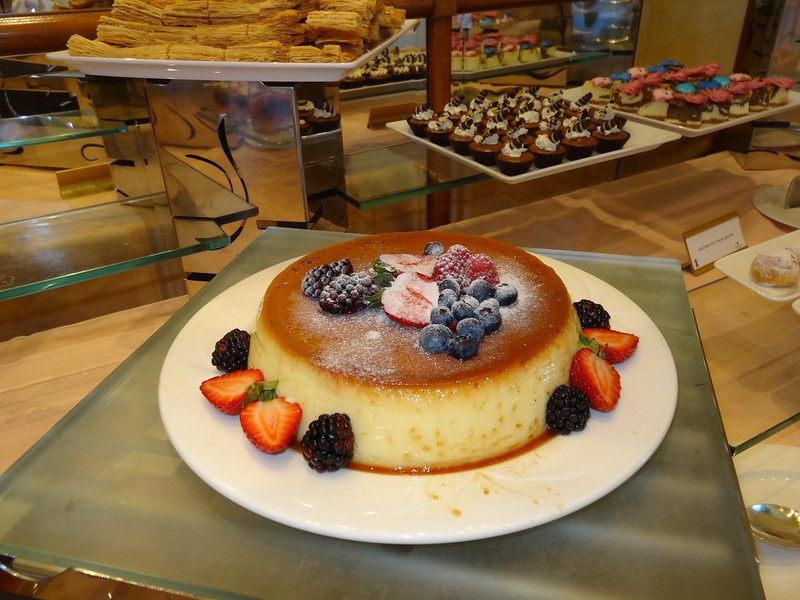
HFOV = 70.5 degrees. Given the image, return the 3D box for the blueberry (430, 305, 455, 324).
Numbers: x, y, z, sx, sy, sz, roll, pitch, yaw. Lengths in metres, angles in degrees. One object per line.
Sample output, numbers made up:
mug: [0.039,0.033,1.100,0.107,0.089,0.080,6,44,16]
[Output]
blueberry: [0.095,0.038,1.288,0.049,0.021,0.042,-10,44,-15]

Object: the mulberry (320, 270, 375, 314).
mulberry: [-0.101,-0.016,1.406,0.154,0.056,0.187,-4,2,-7]

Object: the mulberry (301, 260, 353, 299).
mulberry: [-0.173,-0.061,1.467,0.138,0.056,0.072,-26,69,-12]

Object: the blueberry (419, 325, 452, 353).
blueberry: [0.076,0.084,1.247,0.072,0.049,0.062,11,55,12]

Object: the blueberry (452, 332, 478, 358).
blueberry: [0.138,0.104,1.232,0.053,0.035,0.053,-32,45,-31]

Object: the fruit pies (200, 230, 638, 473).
fruit pies: [-0.034,0.096,1.466,1.148,0.268,0.913,10,27,12]

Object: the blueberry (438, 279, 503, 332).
blueberry: [0.144,-0.004,1.378,0.196,0.113,0.161,-1,22,-11]

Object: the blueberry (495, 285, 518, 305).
blueberry: [0.256,-0.012,1.376,0.058,0.030,0.050,-16,36,-10]
